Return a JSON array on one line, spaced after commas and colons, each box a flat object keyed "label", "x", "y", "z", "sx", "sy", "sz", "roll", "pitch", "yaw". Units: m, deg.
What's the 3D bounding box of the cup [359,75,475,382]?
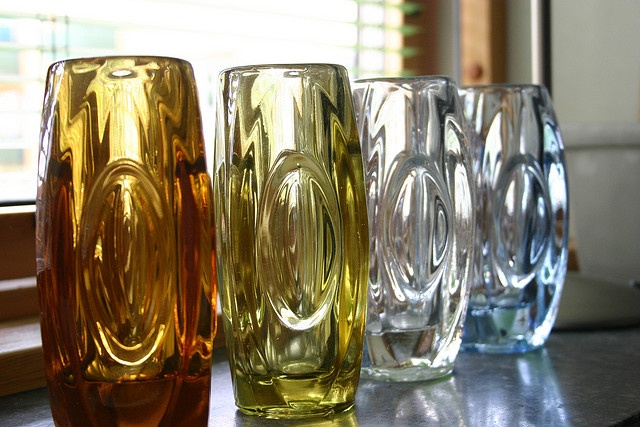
[{"label": "cup", "x": 0.082, "y": 0.017, "z": 0.569, "sx": 0.108, "sy": 0.284, "sz": 0.058, "roll": 2, "pitch": 11, "yaw": 3}]

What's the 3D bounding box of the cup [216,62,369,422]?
[{"label": "cup", "x": -0.023, "y": 0.024, "z": 0.500, "sx": 0.119, "sy": 0.287, "sz": 0.063, "roll": 0, "pitch": 11, "yaw": -6}]
